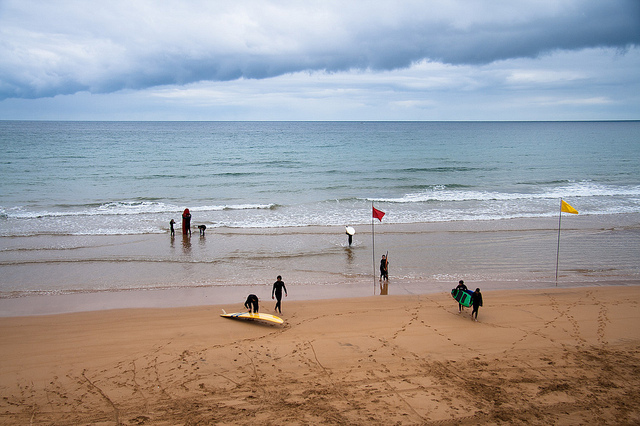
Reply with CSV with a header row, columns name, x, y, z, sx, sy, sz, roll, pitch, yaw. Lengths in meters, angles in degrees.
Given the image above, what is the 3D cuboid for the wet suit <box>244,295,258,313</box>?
name,x,y,z,sx,sy,sz,roll,pitch,yaw
wet suit,-3.331,4.400,26.894,0.582,0.853,0.467,-2,4,-7

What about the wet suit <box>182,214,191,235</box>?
name,x,y,z,sx,sy,sz,roll,pitch,yaw
wet suit,-8.975,0.818,37.349,0.428,1.194,0.190,-6,6,-38

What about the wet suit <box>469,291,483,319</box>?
name,x,y,z,sx,sy,sz,roll,pitch,yaw
wet suit,7.466,4.404,26.704,0.582,1.236,0.368,-2,5,0

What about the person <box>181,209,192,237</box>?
name,x,y,z,sx,sy,sz,roll,pitch,yaw
person,-9.073,0.698,37.447,0.537,2.058,0.311,-2,7,-15

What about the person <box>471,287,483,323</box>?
name,x,y,z,sx,sy,sz,roll,pitch,yaw
person,7.544,4.399,26.824,0.456,1.541,1.085,-1,4,14

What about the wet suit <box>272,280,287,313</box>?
name,x,y,z,sx,sy,sz,roll,pitch,yaw
wet suit,-2.032,4.082,27.773,0.611,1.571,1.333,-2,4,-3

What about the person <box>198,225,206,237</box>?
name,x,y,z,sx,sy,sz,roll,pitch,yaw
person,-7.993,1.167,37.626,0.404,0.704,0.721,-3,4,-15

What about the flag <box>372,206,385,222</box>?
name,x,y,z,sx,sy,sz,roll,pitch,yaw
flag,3.187,0.105,30.981,0.485,0.556,1.067,-2,4,3

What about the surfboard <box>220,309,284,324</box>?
name,x,y,z,sx,sy,sz,roll,pitch,yaw
surfboard,-3.326,5.045,26.847,2.369,0.217,0.483,5,17,8

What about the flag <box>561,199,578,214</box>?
name,x,y,z,sx,sy,sz,roll,pitch,yaw
flag,15.973,-0.366,35.493,1.214,0.980,0.218,13,26,18

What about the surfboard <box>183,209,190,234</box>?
name,x,y,z,sx,sy,sz,roll,pitch,yaw
surfboard,-9.109,0.558,37.428,0.372,1.646,0.174,5,-1,-16

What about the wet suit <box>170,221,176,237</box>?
name,x,y,z,sx,sy,sz,roll,pitch,yaw
wet suit,-10.109,1.103,37.867,0.409,0.387,1.023,-8,-29,-8

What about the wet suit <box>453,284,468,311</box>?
name,x,y,z,sx,sy,sz,roll,pitch,yaw
wet suit,6.870,4.155,27.219,0.678,1.253,0.558,-1,5,9

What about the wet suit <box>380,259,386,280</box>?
name,x,y,z,sx,sy,sz,roll,pitch,yaw
wet suit,3.452,3.108,30.576,0.301,1.163,0.405,-2,5,3
